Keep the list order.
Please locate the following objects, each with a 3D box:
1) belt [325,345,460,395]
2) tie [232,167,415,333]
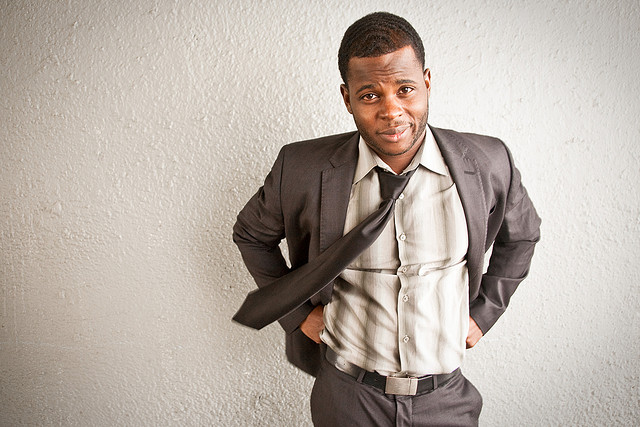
[{"bbox_3d":[0.276,0.614,2.202,0.518,0.153,0.104,6,-2,1],"label":"belt"},{"bbox_3d":[0.042,0.143,2.193,0.183,0.814,0.203,48,10,-52],"label":"tie"}]
